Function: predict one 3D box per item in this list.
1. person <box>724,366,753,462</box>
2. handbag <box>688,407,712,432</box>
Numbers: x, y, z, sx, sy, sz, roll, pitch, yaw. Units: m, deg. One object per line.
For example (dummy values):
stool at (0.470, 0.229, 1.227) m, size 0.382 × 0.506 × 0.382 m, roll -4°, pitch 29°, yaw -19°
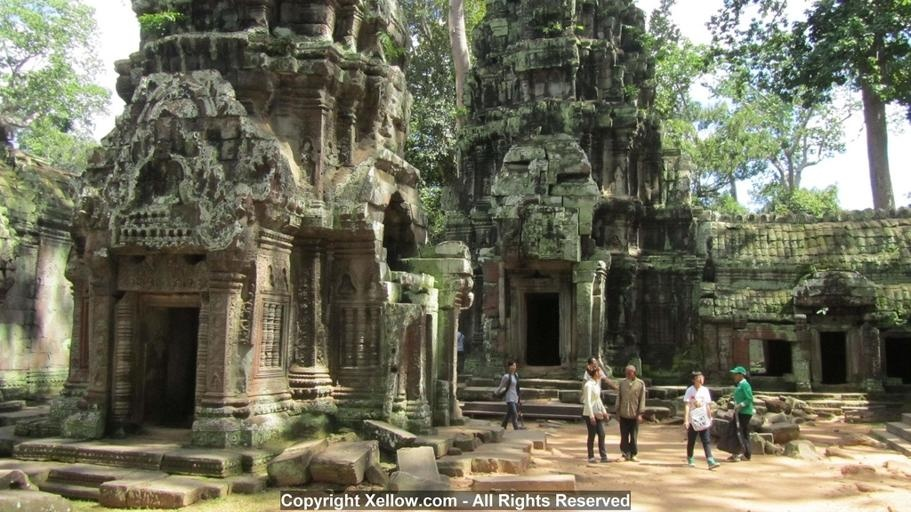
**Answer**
person at (6.732, 3.692, 18.636) m, size 0.552 × 2.122 × 1.613 m, roll -4°, pitch -12°, yaw 18°
handbag at (5.473, 3.655, 17.731) m, size 0.658 × 0.642 × 0.360 m, roll 4°, pitch -19°, yaw -11°
